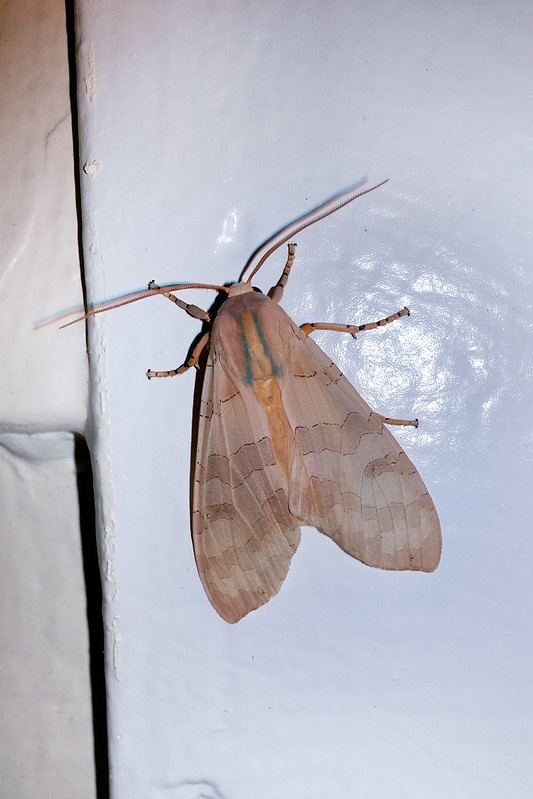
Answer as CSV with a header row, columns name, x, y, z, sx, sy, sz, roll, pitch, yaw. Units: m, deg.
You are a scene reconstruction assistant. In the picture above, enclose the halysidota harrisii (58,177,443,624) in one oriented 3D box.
name,x,y,z,sx,sy,sz,roll,pitch,yaw
halysidota harrisii,-0.039,-0.030,1.835,0.716,0.196,0.869,-17,91,14
